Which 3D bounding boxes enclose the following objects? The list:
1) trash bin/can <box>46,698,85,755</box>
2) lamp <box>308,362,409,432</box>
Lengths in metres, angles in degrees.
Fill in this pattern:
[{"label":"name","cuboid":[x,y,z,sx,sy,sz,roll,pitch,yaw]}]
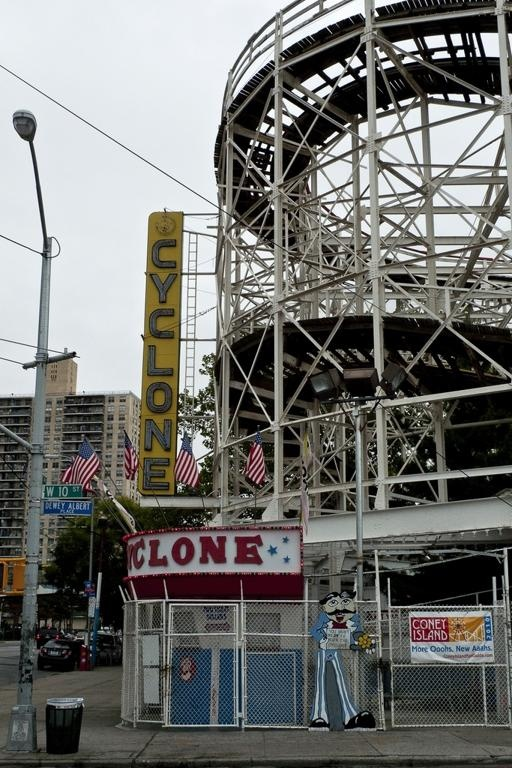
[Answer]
[{"label":"trash bin/can","cuboid":[-2.478,4.460,12.670,0.512,0.651,0.508,1,-12,-2]},{"label":"lamp","cuboid":[1.832,0.311,17.712,2.726,0.918,1.096,1,-37,5]}]
